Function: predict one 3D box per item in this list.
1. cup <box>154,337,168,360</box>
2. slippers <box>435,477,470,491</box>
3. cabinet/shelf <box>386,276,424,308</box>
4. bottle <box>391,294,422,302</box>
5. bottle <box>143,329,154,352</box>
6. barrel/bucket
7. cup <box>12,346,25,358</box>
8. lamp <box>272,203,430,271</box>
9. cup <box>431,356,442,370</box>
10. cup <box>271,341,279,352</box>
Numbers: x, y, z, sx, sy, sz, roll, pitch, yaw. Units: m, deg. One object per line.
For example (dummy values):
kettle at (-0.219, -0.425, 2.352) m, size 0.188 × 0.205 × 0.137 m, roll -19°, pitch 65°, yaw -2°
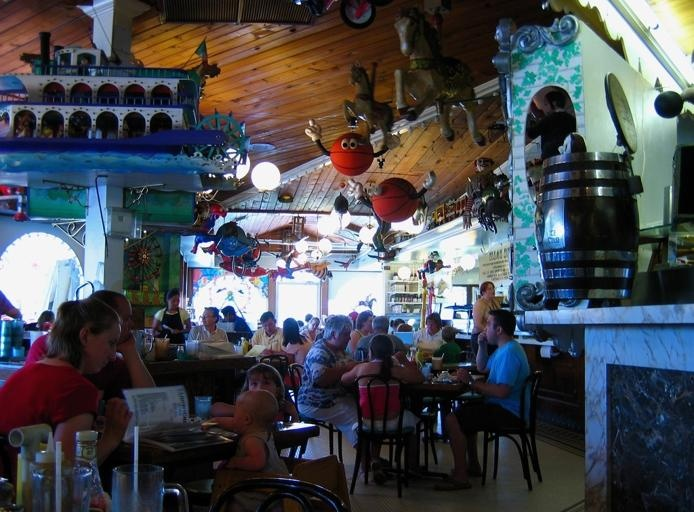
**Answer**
cup at (-1.477, 0.760, 4.859) m, size 0.135 × 0.157 × 0.139 m, roll 0°, pitch -9°, yaw 0°
slippers at (0.862, 1.877, 4.895) m, size 0.237 × 0.081 × 0.113 m, roll 3°, pitch -12°, yaw -7°
cabinet/shelf at (1.670, 1.060, 17.368) m, size 0.943 × 0.913 × 0.350 m, roll 2°, pitch -13°, yaw -6°
bottle at (1.736, 1.252, 17.800) m, size 0.744 × 0.231 × 0.255 m, roll 2°, pitch -5°, yaw -6°
bottle at (-1.621, 0.695, 4.865) m, size 0.062 × 0.143 × 0.115 m, roll -4°, pitch -9°, yaw 12°
barrel/bucket at (1.227, -0.348, 3.122) m, size 0.473 × 1.177 × 0.517 m, roll -1°, pitch -2°, yaw 0°
cup at (-2.583, 0.762, 4.715) m, size 0.076 × 0.061 × 0.079 m, roll 0°, pitch -8°, yaw 0°
lamp at (0.038, -0.792, 11.918) m, size 3.000 × 1.151 × 1.704 m, roll -11°, pitch -8°, yaw -3°
cup at (0.913, 1.090, 6.075) m, size 0.120 × 0.122 × 0.096 m, roll 0°, pitch -9°, yaw 1°
cup at (-0.941, 1.206, 7.939) m, size 0.117 × 0.173 × 0.095 m, roll -2°, pitch -29°, yaw 2°
